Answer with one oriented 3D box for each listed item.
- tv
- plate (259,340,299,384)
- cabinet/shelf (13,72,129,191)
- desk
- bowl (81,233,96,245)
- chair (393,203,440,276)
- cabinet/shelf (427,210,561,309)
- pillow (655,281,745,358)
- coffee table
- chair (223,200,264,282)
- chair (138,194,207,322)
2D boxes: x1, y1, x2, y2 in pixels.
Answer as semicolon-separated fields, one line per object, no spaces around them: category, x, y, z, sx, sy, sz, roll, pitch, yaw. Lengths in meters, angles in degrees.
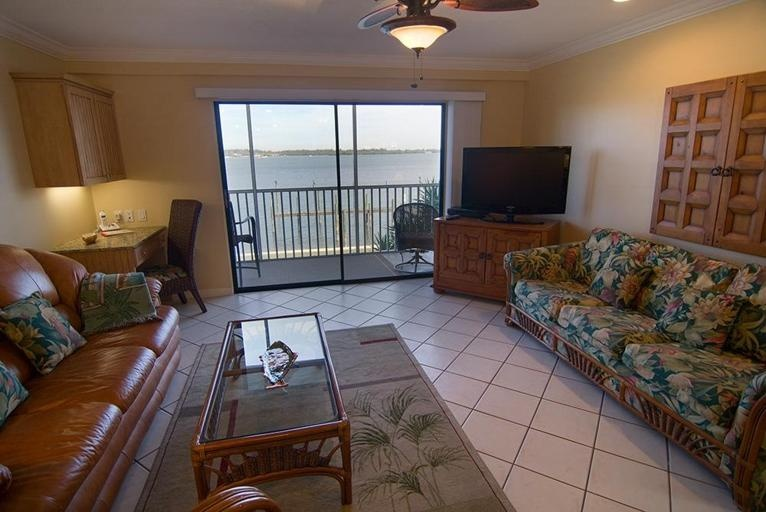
tv;1.431;-0.779;5.375;1.179;0.791;0.284;6;14;32
plate;-0.788;0.812;3.674;0.291;0.373;0.068;-4;9;-14
cabinet/shelf;-2.970;-1.188;4.617;0.572;1.107;1.043;-1;20;-1
desk;-2.610;0.113;5.073;0.508;0.639;0.688;1;22;1
bowl;-2.858;-0.158;4.789;0.121;0.064;0.122;-3;5;0
chair;0.428;-0.212;6.327;0.597;0.796;0.548;-3;12;-18
cabinet/shelf;1.092;0.135;5.609;1.217;0.852;0.489;8;-11;-12
pillow;2.380;0.480;3.657;0.145;0.435;0.476;32;-4;-35
coffee table;-0.690;1.281;3.465;0.989;0.651;1.664;-4;27;-9
chair;-1.824;-0.199;6.391;0.397;1.049;0.533;-9;47;-18
chair;-2.339;0.022;5.203;0.794;1.136;0.718;-11;15;-38
